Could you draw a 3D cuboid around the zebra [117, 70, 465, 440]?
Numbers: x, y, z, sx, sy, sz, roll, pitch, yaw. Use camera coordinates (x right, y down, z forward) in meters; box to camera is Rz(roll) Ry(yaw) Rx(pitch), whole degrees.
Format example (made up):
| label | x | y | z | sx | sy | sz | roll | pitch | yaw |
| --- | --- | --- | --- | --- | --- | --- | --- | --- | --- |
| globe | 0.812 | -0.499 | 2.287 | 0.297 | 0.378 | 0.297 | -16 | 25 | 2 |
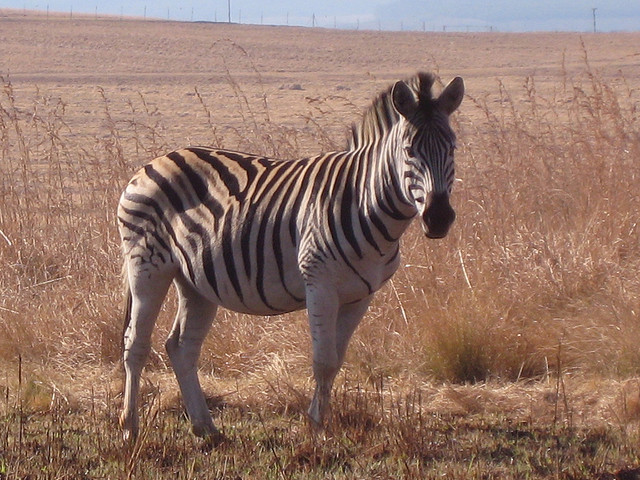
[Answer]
| label | x | y | z | sx | sy | sz | roll | pitch | yaw |
| --- | --- | --- | --- | --- | --- | --- | --- | --- | --- |
| zebra | -0.328 | 0.270 | 7.791 | 3.320 | 2.769 | 1.061 | -8 | -13 | 33 |
